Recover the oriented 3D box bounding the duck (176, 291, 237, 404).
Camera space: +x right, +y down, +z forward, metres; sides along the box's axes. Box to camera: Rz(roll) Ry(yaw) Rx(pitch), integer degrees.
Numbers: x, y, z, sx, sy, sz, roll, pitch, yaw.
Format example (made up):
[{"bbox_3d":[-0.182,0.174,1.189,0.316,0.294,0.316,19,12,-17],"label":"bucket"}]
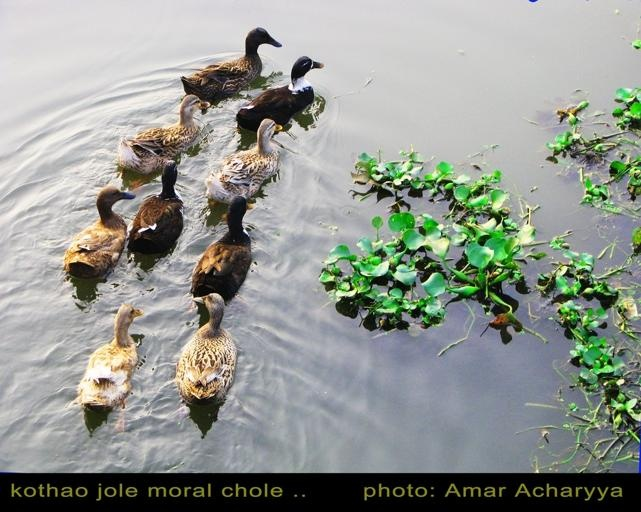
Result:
[{"bbox_3d":[-1.605,1.343,9.941,0.891,0.993,1.454,8,50,-1],"label":"duck"}]
